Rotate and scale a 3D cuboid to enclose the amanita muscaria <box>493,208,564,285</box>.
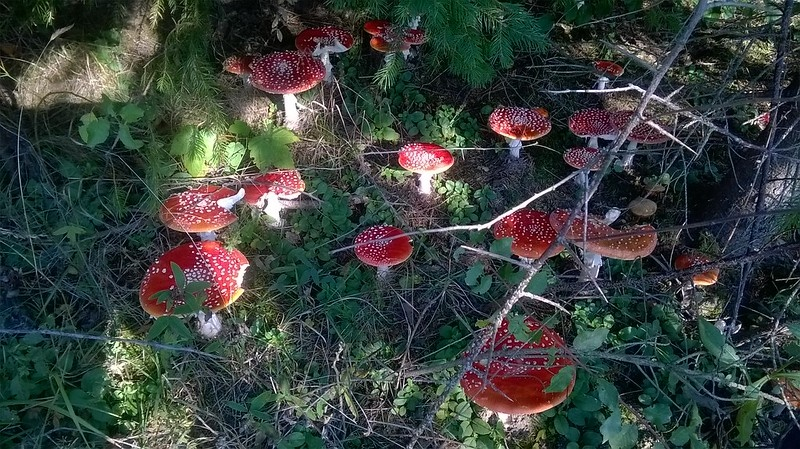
[{"bbox_3d":[1.370,0.127,6.895,0.617,0.335,0.617,37,69,15],"label":"amanita muscaria"}]

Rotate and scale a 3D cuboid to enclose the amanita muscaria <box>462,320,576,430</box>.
[{"bbox_3d":[1.107,1.501,6.176,1.042,0.520,1.014,7,45,19],"label":"amanita muscaria"}]

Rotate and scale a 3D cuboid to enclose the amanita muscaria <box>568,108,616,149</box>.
[{"bbox_3d":[2.293,-1.185,7.661,0.513,0.276,0.496,-28,57,-14],"label":"amanita muscaria"}]
